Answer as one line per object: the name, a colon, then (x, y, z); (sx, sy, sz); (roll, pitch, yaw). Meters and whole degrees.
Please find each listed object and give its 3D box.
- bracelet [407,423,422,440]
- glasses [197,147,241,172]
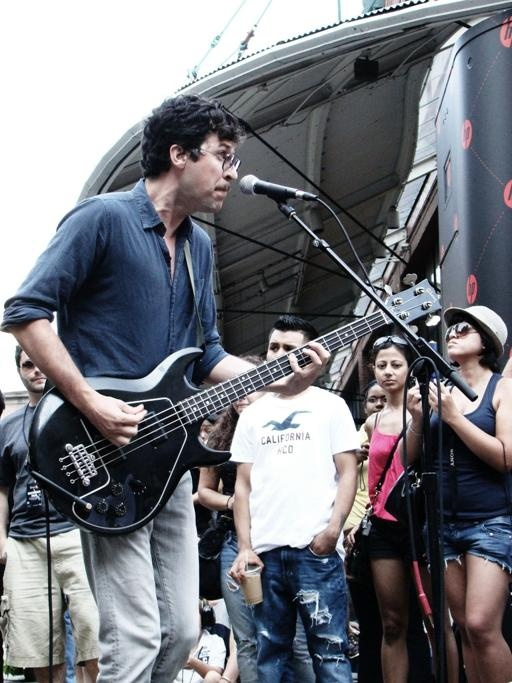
bracelet: (0.766, 0.432, 4.140); (0.060, 0.070, 0.029); (0, 5, 32)
glasses: (-0.138, -0.657, 3.097); (0.105, 0.028, 0.095); (15, 4, 14)
